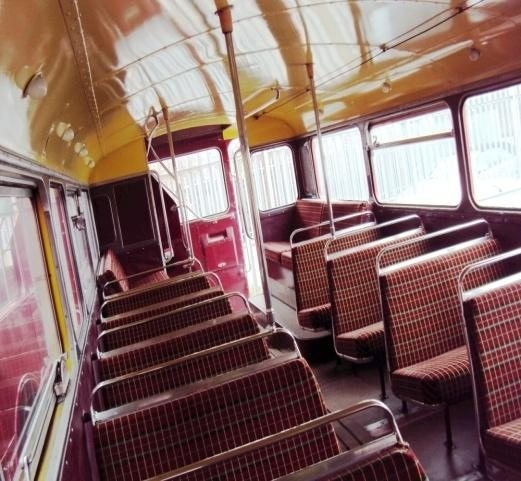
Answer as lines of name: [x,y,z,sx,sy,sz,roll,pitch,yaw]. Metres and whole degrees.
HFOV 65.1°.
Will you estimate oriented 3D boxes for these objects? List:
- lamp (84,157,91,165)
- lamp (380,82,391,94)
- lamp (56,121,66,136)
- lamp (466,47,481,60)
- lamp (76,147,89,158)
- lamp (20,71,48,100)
lamp: [-2.404,-1.119,5.663,0.093,0.069,0.096,2,13,-4]
lamp: [1.516,-1.854,4.952,0.104,0.093,0.101,-4,-13,28]
lamp: [-1.575,-0.892,3.208,0.070,0.074,0.086,12,47,0]
lamp: [1.970,-1.728,3.761,0.094,0.108,0.123,-9,6,22]
lamp: [-2.091,-1.043,4.764,0.131,0.124,0.164,22,5,-30]
lamp: [-1.179,-0.807,2.109,0.110,0.113,0.117,25,44,13]
